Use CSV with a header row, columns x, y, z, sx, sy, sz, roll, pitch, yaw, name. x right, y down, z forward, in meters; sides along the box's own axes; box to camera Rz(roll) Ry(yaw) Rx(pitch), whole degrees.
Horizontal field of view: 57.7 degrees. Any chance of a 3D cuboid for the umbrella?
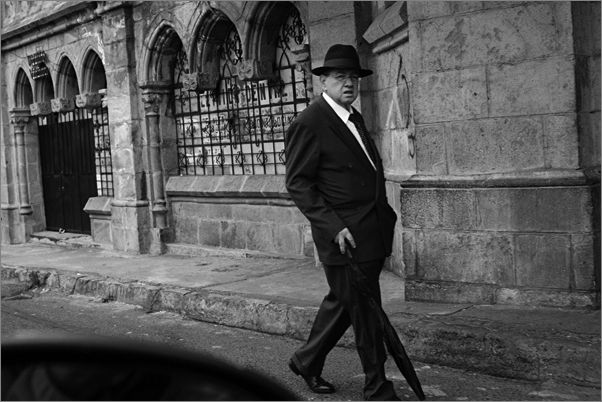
x,y,z,sx,sy,sz,roll,pitch,yaw,name
0.625,0.886,3.847,0.256,1.102,0.661,-11,11,-21,umbrella
